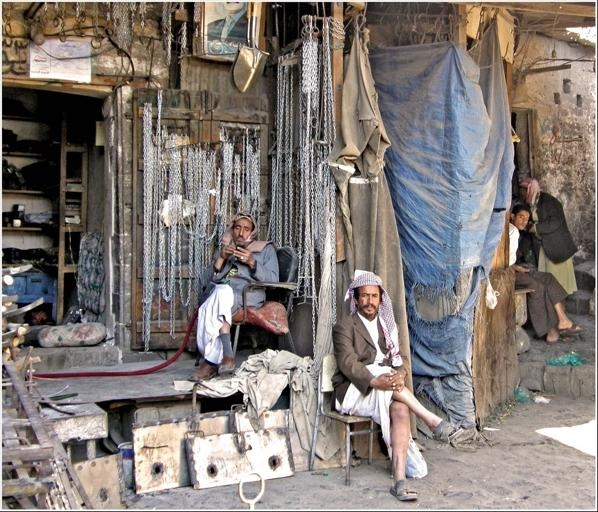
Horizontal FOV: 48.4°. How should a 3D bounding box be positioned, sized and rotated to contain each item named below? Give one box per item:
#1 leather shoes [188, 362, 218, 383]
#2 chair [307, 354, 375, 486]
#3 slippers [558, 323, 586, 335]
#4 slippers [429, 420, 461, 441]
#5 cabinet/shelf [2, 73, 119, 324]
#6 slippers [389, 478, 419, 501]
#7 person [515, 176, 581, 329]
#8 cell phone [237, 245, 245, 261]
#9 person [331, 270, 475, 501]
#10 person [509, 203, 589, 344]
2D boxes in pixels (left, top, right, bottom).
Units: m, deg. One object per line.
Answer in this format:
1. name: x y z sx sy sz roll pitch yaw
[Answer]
1. leather shoes: -0.750 0.951 5.318 0.286 0.143 0.104 6 -11 -39
2. chair: 0.357 1.206 4.923 0.439 0.808 0.522 4 -5 9
3. slippers: 3.089 0.854 7.514 0.293 0.147 0.119 -6 0 -14
4. slippers: 1.044 1.247 4.714 0.194 0.164 0.117 -2 3 18
5. cabinet/shelf: -2.929 -0.652 7.903 1.485 2.876 0.805 -1 3 33
6. slippers: 0.700 1.563 4.426 0.182 0.123 0.136 -2 3 9
7. person: 2.842 -0.010 7.812 0.711 1.831 1.119 -13 7 22
8. cell phone: -0.489 -0.026 5.646 0.028 0.125 0.078 3 -4 -21
9. person: 0.637 0.862 4.770 0.537 1.494 0.755 -4 3 -42
10. person: 2.617 0.200 7.340 0.639 1.554 1.222 0 4 43
